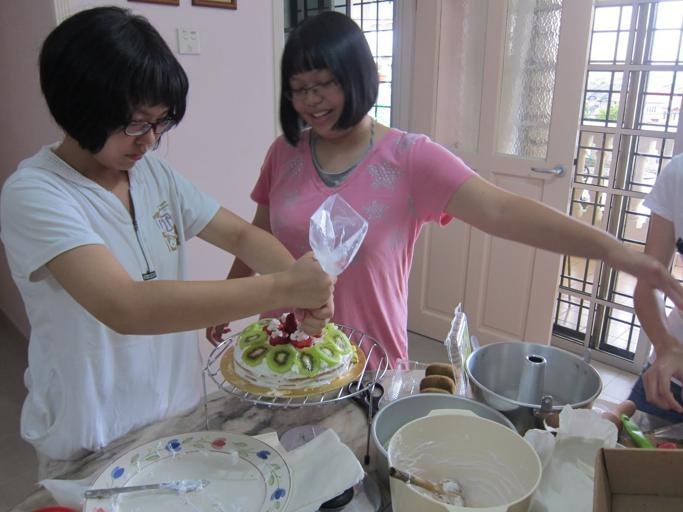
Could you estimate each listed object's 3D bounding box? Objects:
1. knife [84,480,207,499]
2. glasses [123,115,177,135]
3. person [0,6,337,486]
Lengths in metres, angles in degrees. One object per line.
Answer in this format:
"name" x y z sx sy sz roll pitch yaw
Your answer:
"knife" -0.372 0.442 0.918 0.148 0.020 0.026 -5 -15 -13
"glasses" -0.442 -0.303 1.136 0.055 0.044 0.144 6 16 20
"person" -0.474 -0.032 1.228 0.718 1.091 0.496 -2 14 -12
